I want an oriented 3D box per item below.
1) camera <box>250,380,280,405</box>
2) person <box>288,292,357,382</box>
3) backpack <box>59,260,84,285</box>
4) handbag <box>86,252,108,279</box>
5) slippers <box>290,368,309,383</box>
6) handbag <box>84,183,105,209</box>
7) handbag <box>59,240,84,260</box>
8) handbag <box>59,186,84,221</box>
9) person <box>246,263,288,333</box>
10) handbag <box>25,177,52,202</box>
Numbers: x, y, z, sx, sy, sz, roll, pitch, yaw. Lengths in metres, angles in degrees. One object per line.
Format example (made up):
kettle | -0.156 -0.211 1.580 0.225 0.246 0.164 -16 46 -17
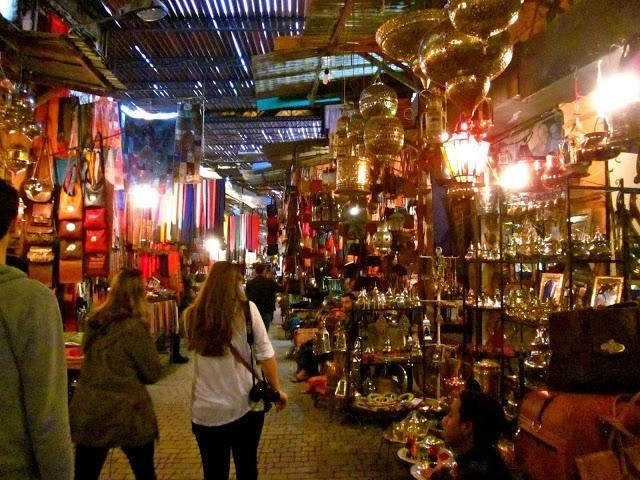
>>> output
camera | -0.376 1.027 3.612 0.134 0.133 0.061 21 0 -29
person | 0.043 1.308 7.109 0.493 0.860 1.974 16 2 1
backpack | -2.621 0.331 5.639 0.208 0.268 0.088 1 -10 -15
handbag | -2.385 0.267 5.733 0.246 0.225 0.387 2 11 -8
slippers | -0.267 1.978 7.766 0.321 0.255 0.123 2 -6 8
handbag | -2.424 -0.469 5.748 0.224 0.334 0.093 3 -21 -22
handbag | -2.619 0.103 5.642 0.191 0.212 0.125 0 -12 -9
handbag | -2.623 -0.374 5.654 0.301 0.472 0.130 2 -19 -24
person | -0.873 0.970 8.254 0.504 1.321 0.412 1 16 -6
handbag | -2.756 -0.467 5.213 0.225 0.185 0.247 1 -7 0
